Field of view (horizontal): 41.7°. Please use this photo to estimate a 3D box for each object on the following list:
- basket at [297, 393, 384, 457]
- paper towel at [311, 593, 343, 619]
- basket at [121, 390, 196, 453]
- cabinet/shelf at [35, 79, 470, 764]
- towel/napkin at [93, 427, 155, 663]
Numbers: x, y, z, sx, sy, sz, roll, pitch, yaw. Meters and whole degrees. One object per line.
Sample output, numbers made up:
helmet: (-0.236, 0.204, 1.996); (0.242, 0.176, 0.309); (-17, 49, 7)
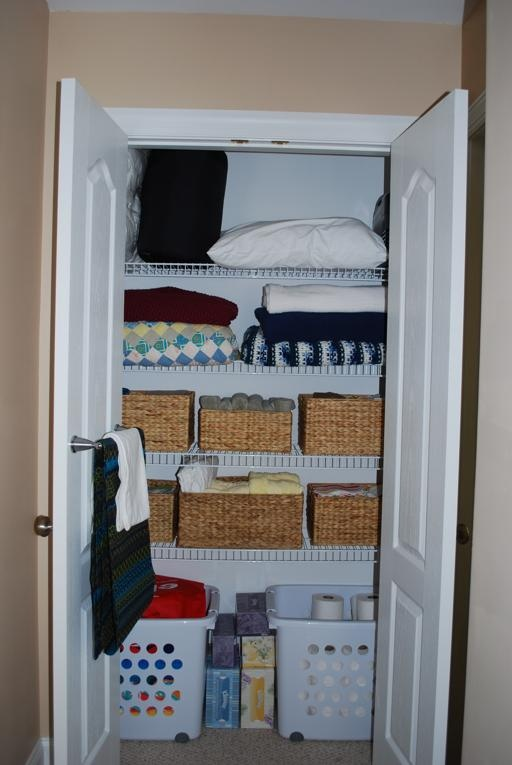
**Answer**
basket: (0.291, 0.144, 2.281); (0.202, 0.154, 0.213); (1, 1, 2)
paper towel: (0.251, 0.761, 2.315); (0.083, 0.071, 0.087); (0, -3, 0)
basket: (-0.332, 0.119, 2.194); (0.194, 0.161, 0.206); (1, -1, -5)
cabinet/shelf: (0.000, 0.156, 2.027); (0.960, 2.024, 1.201); (1, 2, -1)
towel/napkin: (-0.332, 0.421, 1.680); (0.109, 0.603, 0.359); (1, 2, 1)
